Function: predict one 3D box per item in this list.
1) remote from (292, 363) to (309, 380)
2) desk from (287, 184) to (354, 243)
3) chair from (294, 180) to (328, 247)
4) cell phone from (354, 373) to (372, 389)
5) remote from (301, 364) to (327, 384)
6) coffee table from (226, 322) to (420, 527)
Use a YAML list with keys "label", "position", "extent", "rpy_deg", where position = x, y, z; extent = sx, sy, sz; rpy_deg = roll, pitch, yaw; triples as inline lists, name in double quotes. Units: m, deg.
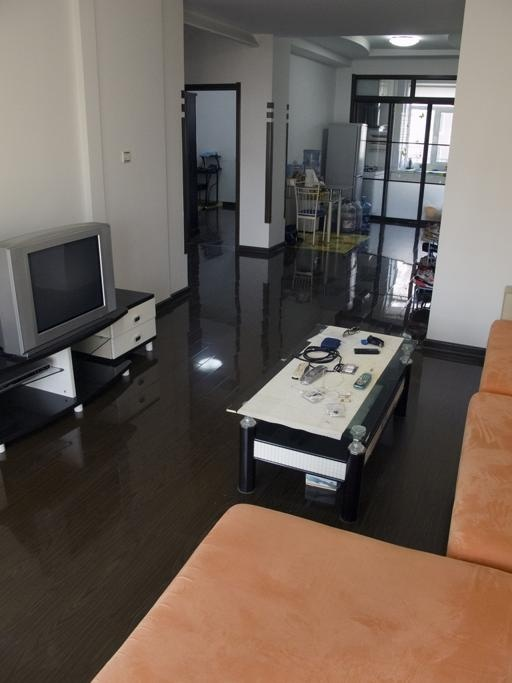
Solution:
- label: "remote"
  position: [0.235, 0.159, 2.619]
  extent: [0.019, 0.065, 0.065]
  rpy_deg: [22, 40, 18]
- label: "desk"
  position: [0.886, -2.049, 8.169]
  extent: [0.937, 0.931, 0.668]
  rpy_deg: [0, 30, 9]
- label: "chair"
  position: [0.857, -2.120, 8.081]
  extent: [0.411, 0.917, 0.474]
  rpy_deg: [16, 39, 22]
- label: "cell phone"
  position: [0.539, 0.197, 2.515]
  extent: [0.053, 0.022, 0.105]
  rpy_deg: [11, 35, 29]
- label: "remote"
  position: [0.291, 0.163, 2.568]
  extent: [0.066, 0.035, 0.132]
  rpy_deg: [14, 33, 33]
- label: "coffee table"
  position: [0.407, 0.240, 2.554]
  extent: [0.630, 0.427, 1.073]
  rpy_deg: [12, 31, 24]
